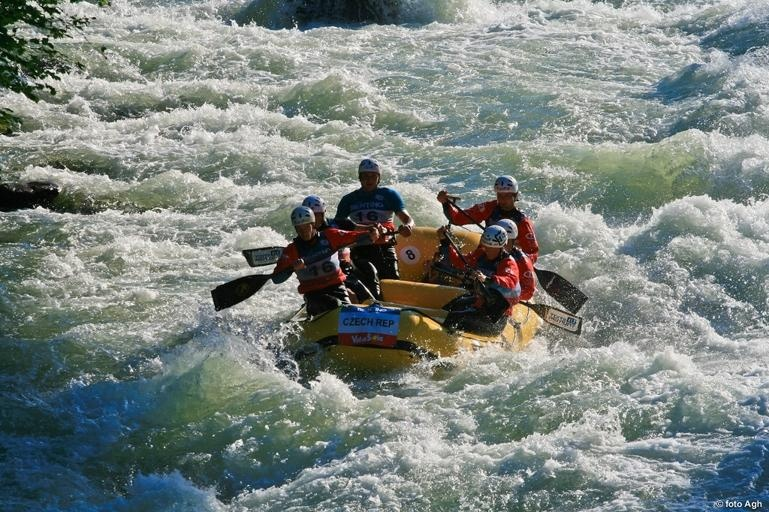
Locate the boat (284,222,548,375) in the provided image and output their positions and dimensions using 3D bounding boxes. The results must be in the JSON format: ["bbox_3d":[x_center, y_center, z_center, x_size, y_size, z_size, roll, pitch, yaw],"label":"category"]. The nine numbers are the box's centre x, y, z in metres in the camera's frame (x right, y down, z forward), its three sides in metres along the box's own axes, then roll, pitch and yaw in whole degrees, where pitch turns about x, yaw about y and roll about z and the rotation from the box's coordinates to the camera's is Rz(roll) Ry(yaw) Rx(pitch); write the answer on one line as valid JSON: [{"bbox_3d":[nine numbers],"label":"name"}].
[{"bbox_3d":[0.561,0.899,18.376,2.929,1.230,3.686,9,23,21],"label":"boat"}]

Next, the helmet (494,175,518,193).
[{"bbox_3d":[2.298,-1.398,18.854,0.360,0.386,0.437,9,18,16],"label":"helmet"}]

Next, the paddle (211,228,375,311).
[{"bbox_3d":[-1.662,0.293,18.472,4.386,0.289,0.654,-17,72,-6],"label":"paddle"}]

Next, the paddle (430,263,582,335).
[{"bbox_3d":[2.122,0.797,18.048,1.607,0.372,0.888,31,1,-45],"label":"paddle"}]
